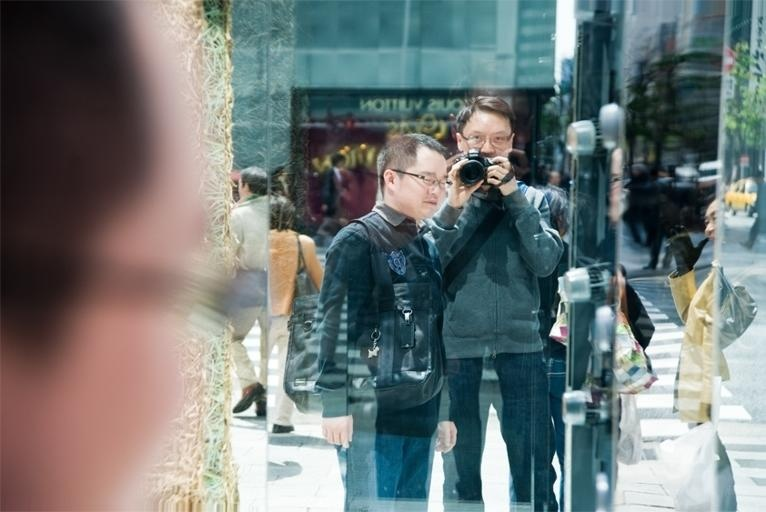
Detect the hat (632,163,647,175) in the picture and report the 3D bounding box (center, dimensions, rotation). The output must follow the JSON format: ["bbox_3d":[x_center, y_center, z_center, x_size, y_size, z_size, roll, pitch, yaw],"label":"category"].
[{"bbox_3d":[1.193,-0.404,3.974,0.052,0.033,0.051,-3,5,-31],"label":"hat"}]

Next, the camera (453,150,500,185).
[{"bbox_3d":[0.415,-0.393,3.836,0.137,0.152,0.148,0,-4,0],"label":"camera"}]

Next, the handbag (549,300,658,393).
[{"bbox_3d":[0.916,0.378,3.599,0.316,0.328,0.138,24,-45,-34],"label":"handbag"}]

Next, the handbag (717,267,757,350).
[{"bbox_3d":[1.643,0.237,3.986,0.141,0.234,0.290,-7,-49,50],"label":"handbag"}]

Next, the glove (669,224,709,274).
[{"bbox_3d":[1.427,-0.019,4.006,0.174,0.275,0.081,0,-32,12],"label":"glove"}]

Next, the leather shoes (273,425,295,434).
[{"bbox_3d":[-0.462,0.791,3.964,0.115,0.052,0.040,7,-5,-11],"label":"leather shoes"}]
